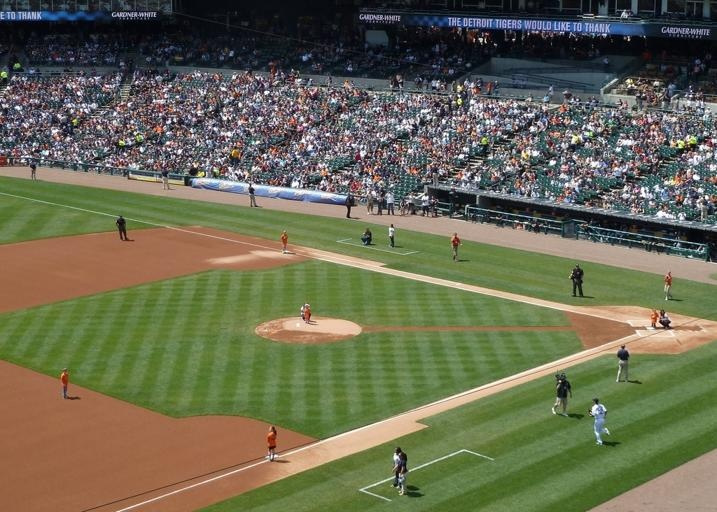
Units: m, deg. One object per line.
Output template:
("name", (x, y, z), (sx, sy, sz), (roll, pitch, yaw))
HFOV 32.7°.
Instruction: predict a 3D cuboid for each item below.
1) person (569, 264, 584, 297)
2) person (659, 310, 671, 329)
("person", (15.560, 1.648, 86.403), (1.059, 2.283, 1.043), (7, 21, 13))
("person", (20.480, 4.179, 81.308), (0.801, 1.035, 0.902), (6, 20, 11))
